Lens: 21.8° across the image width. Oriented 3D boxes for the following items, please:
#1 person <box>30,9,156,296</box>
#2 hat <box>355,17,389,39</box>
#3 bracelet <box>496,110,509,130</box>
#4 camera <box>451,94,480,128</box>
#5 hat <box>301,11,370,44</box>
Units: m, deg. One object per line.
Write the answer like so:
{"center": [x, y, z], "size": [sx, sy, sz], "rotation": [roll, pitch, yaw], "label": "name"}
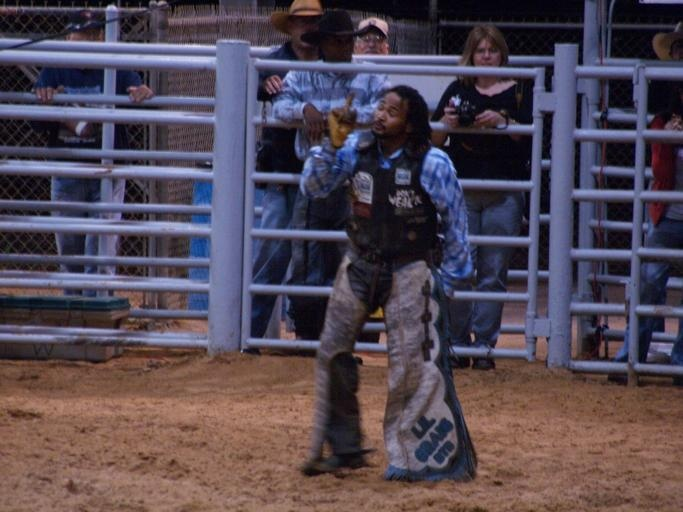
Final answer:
{"center": [-2.085, -0.640, 15.056], "size": [1.010, 2.695, 0.951], "rotation": [-7, -31, -4], "label": "person"}
{"center": [0.289, -2.021, 15.300], "size": [0.230, 0.137, 0.390], "rotation": [-1, 0, 5], "label": "hat"}
{"center": [1.306, -1.105, 14.054], "size": [0.035, 0.142, 0.141], "rotation": [-2, 36, -18], "label": "bracelet"}
{"center": [0.971, -1.152, 13.971], "size": [0.216, 0.256, 0.172], "rotation": [2, 9, 3], "label": "camera"}
{"center": [-0.067, -1.869, 14.202], "size": [0.518, 0.273, 0.659], "rotation": [-2, 0, 4], "label": "hat"}
